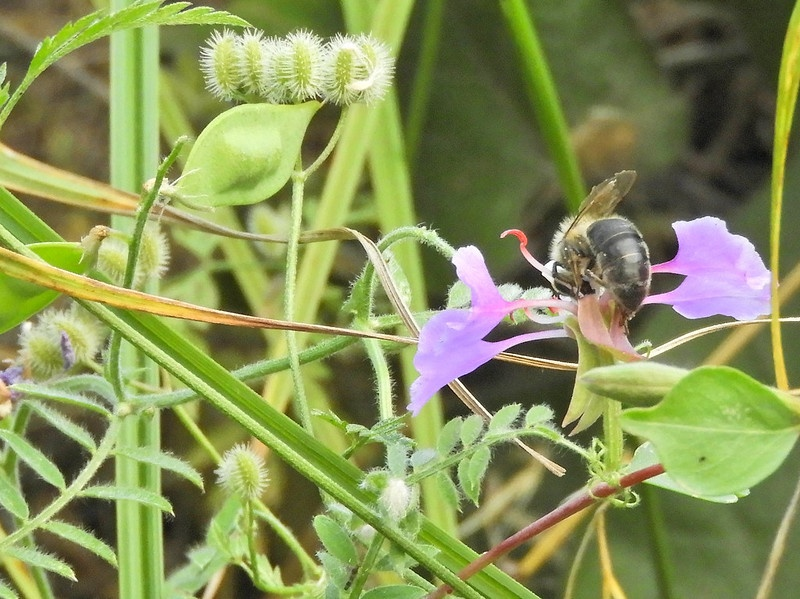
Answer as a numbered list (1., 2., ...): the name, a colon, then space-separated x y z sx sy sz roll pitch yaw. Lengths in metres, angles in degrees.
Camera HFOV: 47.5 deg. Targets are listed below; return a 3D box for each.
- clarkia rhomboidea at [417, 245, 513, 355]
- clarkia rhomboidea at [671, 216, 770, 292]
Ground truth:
1. clarkia rhomboidea: 0.040 0.003 0.588 0.074 0.071 0.022 -10 7 -33
2. clarkia rhomboidea: 0.226 -0.030 0.669 0.061 0.061 0.058 2 22 -4
